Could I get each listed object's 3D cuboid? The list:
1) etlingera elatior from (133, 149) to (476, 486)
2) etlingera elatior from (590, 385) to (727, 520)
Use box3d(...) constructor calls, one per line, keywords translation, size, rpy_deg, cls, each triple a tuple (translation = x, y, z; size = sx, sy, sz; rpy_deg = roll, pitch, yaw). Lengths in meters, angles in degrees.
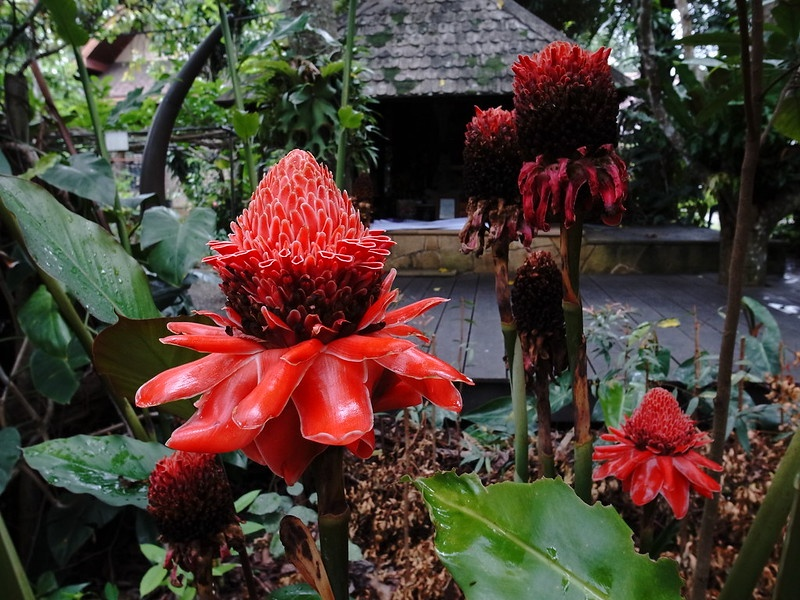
box3d(translation=(-0.167, -0.010, 1.059), size=(0.532, 0.471, 0.252), rpy_deg=(-1, 11, 4), cls="etlingera elatior")
box3d(translation=(0.659, 0.357, 1.598), size=(0.301, 0.299, 0.317), rpy_deg=(0, 6, -19), cls="etlingera elatior")
